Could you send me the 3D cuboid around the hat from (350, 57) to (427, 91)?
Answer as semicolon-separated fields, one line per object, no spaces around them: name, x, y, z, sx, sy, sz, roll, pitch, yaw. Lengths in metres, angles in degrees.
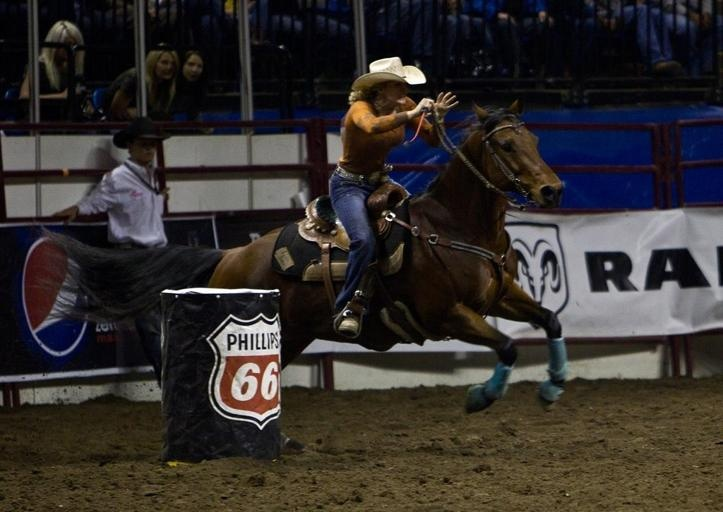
hat;0.157;-1.941;13.554;0.557;0.222;0.449;-8;0;16

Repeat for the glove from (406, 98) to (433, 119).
glove;0.541;-1.554;13.301;0.276;0.220;0.229;-1;10;2

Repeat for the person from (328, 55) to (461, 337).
person;0.174;-0.627;13.678;1.212;2.995;0.931;-3;10;-11

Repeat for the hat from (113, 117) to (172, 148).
hat;-2.736;-1.502;15.420;0.498;0.198;0.417;-8;4;0
